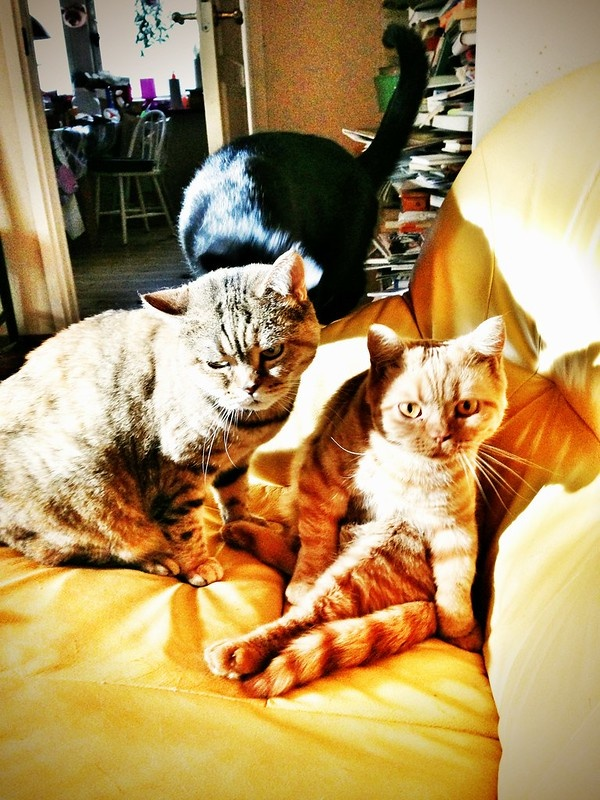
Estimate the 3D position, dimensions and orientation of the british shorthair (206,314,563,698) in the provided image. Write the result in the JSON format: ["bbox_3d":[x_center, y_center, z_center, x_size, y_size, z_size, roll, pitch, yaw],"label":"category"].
[{"bbox_3d":[0.076,0.081,0.872,0.300,0.277,0.471,-3,23,-1],"label":"british shorthair"}]

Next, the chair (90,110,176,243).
[{"bbox_3d":[-1.015,-1.359,4.167,0.496,0.723,0.463,2,24,0],"label":"chair"}]
